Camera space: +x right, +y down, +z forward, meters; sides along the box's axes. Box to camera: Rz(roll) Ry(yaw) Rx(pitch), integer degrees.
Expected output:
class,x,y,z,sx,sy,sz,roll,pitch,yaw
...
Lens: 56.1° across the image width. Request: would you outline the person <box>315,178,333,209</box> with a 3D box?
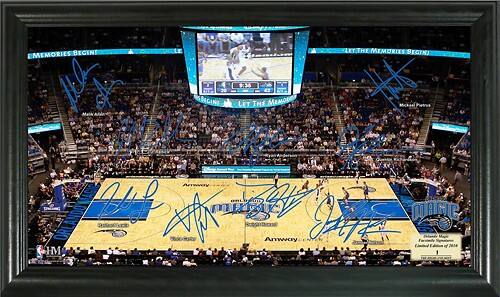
class,x,y,z,sx,sy,sz,roll,pitch,yaw
person,2.409,1.402,15.402,0.685,1.004,0.233,0,-47,1
